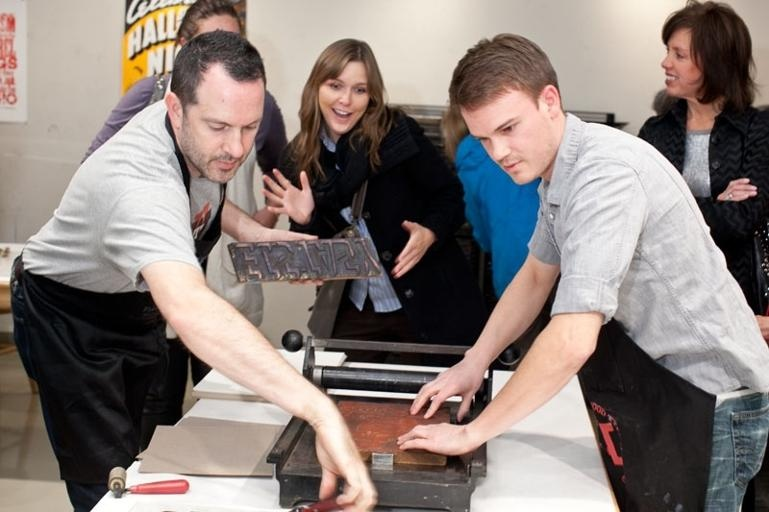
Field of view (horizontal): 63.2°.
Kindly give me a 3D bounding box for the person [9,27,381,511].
[{"bbox_3d":[-0.706,0.111,2.081,1.382,1.670,0.595,9,15,41],"label":"person"}]
